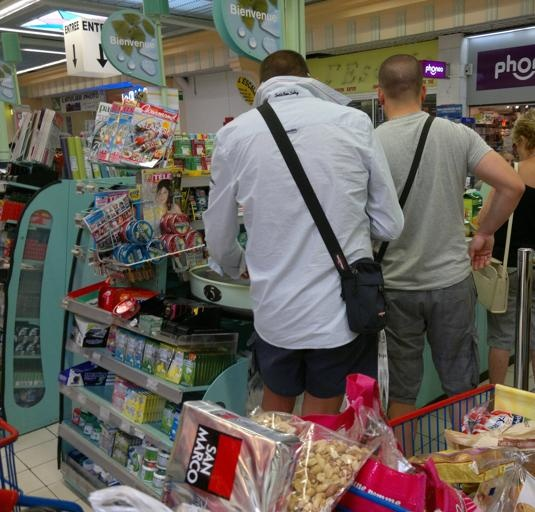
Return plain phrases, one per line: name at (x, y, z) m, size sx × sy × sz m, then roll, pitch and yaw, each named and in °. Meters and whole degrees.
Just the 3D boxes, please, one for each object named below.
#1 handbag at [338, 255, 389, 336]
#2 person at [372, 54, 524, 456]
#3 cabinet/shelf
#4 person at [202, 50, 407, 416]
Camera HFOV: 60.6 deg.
handbag at (0.319, 0.131, 1.542) m, size 0.166 × 0.240 × 0.073 m, roll 2°, pitch 3°, yaw 8°
person at (0.803, 0.083, 2.320) m, size 0.840 × 1.990 × 0.589 m, roll -2°, pitch 8°, yaw 15°
cabinet/shelf at (-0.540, 0.581, 2.045) m, size 0.410 × 1.143 × 1.156 m, roll -1°, pitch 7°, yaw -40°
person at (0.114, -0.096, 1.714) m, size 0.754 × 1.428 × 0.355 m, roll 2°, pitch 3°, yaw 16°
